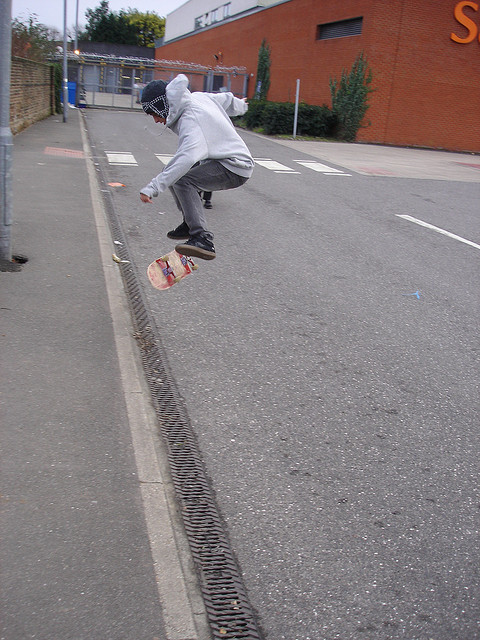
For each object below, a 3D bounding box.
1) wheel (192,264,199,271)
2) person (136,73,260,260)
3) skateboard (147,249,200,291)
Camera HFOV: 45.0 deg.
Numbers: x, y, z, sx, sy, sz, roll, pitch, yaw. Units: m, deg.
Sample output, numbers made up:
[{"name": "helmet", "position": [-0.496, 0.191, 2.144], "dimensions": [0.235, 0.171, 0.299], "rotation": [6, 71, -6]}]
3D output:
[{"name": "wheel", "position": [-0.375, -0.463, 4.952], "dimensions": [0.085, 0.037, 0.098], "rotation": [0, 3, -3]}, {"name": "person", "position": [-0.277, -1.354, 4.974], "dimensions": [0.825, 1.318, 1.669], "rotation": [17, 26, 31]}, {"name": "skateboard", "position": [-0.545, -0.479, 5.002], "dimensions": [0.097, 0.274, 0.664], "rotation": [-14, 15, 32]}]
